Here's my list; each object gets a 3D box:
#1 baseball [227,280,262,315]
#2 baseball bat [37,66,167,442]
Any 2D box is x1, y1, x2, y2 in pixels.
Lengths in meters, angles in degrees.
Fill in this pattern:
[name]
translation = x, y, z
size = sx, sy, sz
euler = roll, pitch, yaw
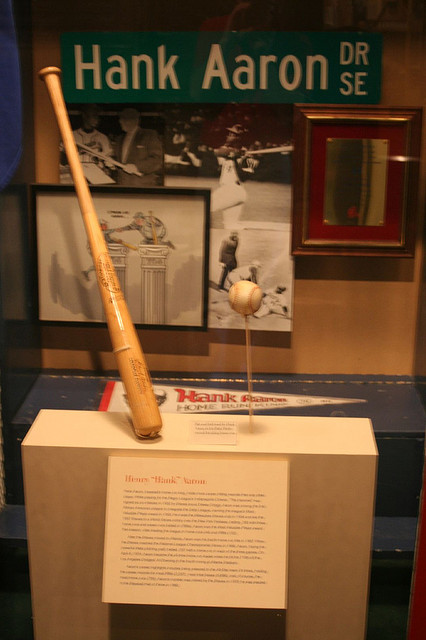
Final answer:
[baseball]
translation = 0.063, -0.046, 1.172
size = 0.067, 0.065, 0.065
euler = -1, 35, 3
[baseball bat]
translation = -0.270, -0.192, 1.409
size = 0.098, 0.886, 0.085
euler = -14, -15, -19
